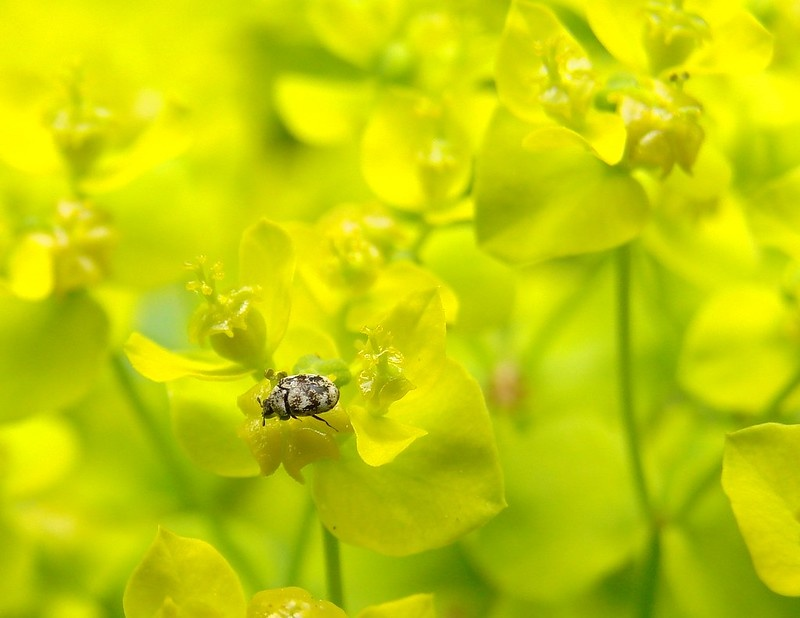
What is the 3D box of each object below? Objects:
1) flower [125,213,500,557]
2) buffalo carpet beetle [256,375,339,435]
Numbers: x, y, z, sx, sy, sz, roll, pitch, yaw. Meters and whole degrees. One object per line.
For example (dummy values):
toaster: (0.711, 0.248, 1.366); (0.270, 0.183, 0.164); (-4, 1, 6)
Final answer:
flower: (-0.061, 0.048, 0.804); (0.308, 0.219, 0.193); (4, 39, 11)
buffalo carpet beetle: (-0.081, 0.072, 0.753); (0.042, 0.016, 0.047); (-3, 60, 14)
